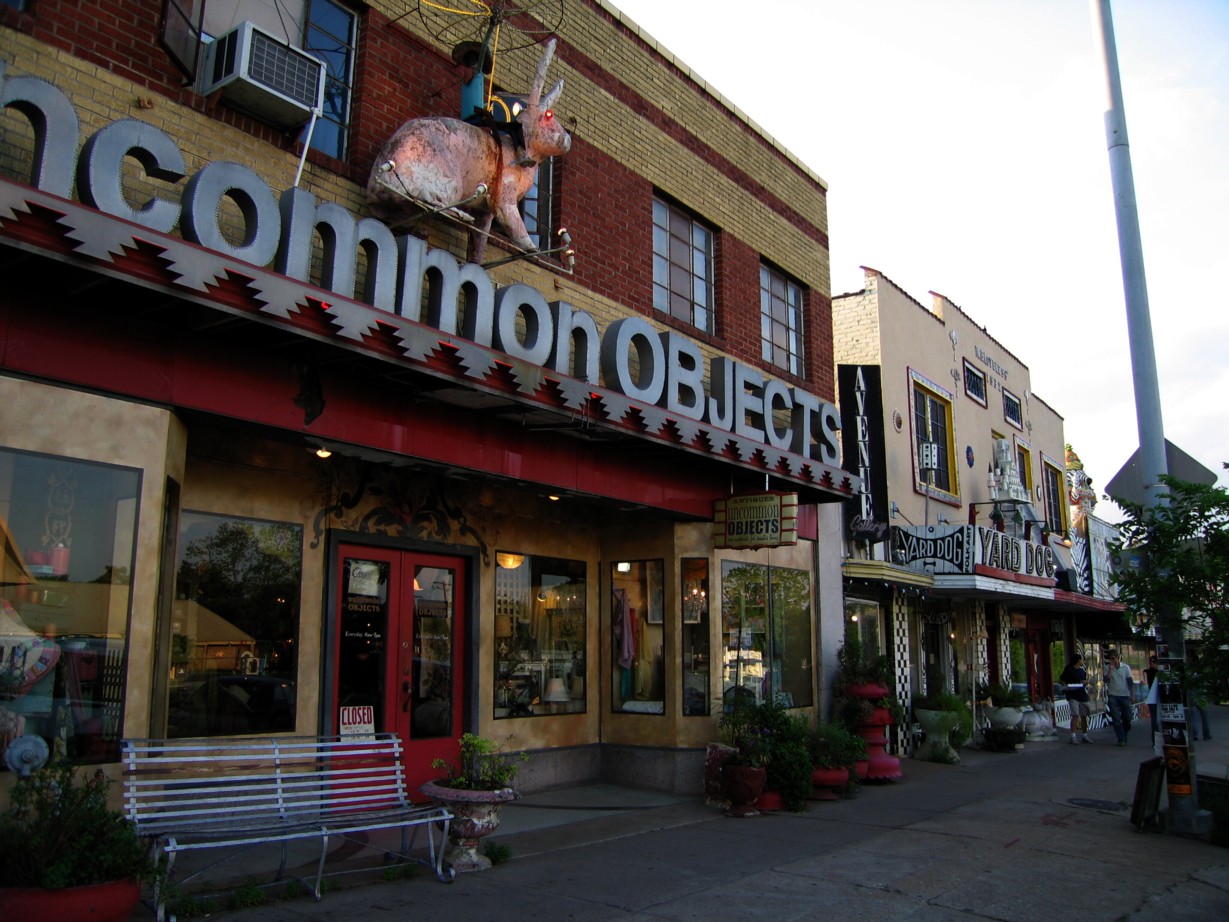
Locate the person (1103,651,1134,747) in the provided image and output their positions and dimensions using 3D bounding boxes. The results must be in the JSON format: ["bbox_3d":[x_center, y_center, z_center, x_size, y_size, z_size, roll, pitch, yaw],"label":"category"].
[{"bbox_3d":[11.955,5.741,23.315,0.487,1.643,2.881,-2,-9,26],"label":"person"}]

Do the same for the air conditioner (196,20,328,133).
[{"bbox_3d":[-3.611,-3.900,10.132,0.792,0.643,1.004,-5,-11,40],"label":"air conditioner"}]

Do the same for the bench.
[{"bbox_3d":[-3.285,3.291,9.466,2.624,1.382,3.141,-6,-11,42],"label":"bench"}]
